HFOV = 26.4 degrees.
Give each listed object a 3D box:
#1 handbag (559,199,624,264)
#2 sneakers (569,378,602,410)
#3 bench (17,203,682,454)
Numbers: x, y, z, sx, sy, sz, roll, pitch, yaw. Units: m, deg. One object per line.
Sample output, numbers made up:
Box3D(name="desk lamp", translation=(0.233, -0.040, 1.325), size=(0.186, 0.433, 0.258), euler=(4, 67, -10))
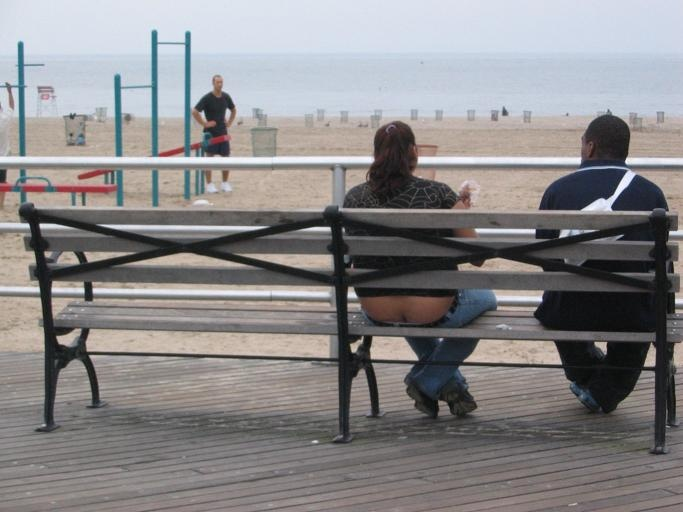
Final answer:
Box3D(name="handbag", translation=(1.331, -0.166, 8.209), size=(0.444, 0.098, 0.376), euler=(-22, 41, 3))
Box3D(name="sneakers", translation=(1.406, 0.820, 8.510), size=(0.105, 0.087, 0.231), euler=(-39, 43, 1))
Box3D(name="bench", translation=(0.008, 0.371, 8.191), size=(3.648, 1.395, 0.429), euler=(0, 12, 5))
